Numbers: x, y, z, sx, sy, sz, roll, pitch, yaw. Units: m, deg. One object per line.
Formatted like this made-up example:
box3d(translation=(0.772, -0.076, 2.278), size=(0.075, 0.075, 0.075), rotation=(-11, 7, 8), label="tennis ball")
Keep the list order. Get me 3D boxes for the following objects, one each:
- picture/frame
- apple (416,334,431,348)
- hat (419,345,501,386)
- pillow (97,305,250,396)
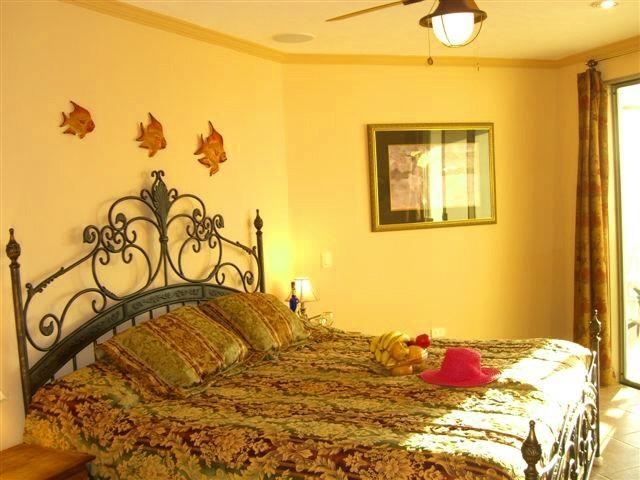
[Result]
box3d(translation=(1.077, -0.626, 4.866), size=(1.182, 0.814, 0.044), rotation=(-4, 0, -19), label="picture/frame")
box3d(translation=(0.666, 0.658, 3.186), size=(0.093, 0.087, 0.092), rotation=(-12, -13, 15), label="apple")
box3d(translation=(0.760, 0.664, 2.678), size=(0.262, 0.076, 0.262), rotation=(-4, 4, 24), label="hat")
box3d(translation=(-0.890, 0.649, 2.923), size=(0.484, 0.144, 0.567), rotation=(28, 26, 26), label="pillow")
